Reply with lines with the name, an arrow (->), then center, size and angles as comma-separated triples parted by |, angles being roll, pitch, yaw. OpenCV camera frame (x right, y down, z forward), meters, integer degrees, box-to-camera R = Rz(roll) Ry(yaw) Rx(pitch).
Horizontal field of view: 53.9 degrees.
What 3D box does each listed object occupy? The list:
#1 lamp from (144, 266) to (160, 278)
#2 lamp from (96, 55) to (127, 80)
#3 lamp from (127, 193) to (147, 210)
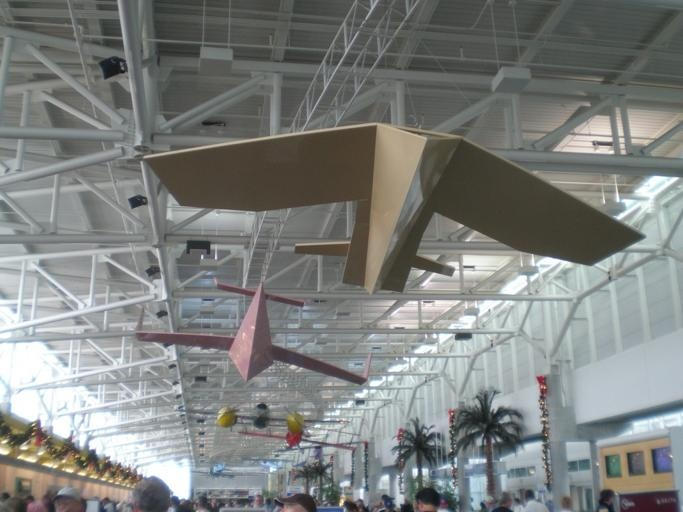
lamp -> -6.823, 0.691, 24.470 | 0.556, 0.500, 0.220 | -1, 10, 0
lamp -> -5.012, -4.142, 14.656 | 0.617, 0.552, 0.160 | -26, 31, -36
lamp -> -6.158, -1.637, 20.277 | 0.535, 0.450, 0.480 | -1, -12, 41
